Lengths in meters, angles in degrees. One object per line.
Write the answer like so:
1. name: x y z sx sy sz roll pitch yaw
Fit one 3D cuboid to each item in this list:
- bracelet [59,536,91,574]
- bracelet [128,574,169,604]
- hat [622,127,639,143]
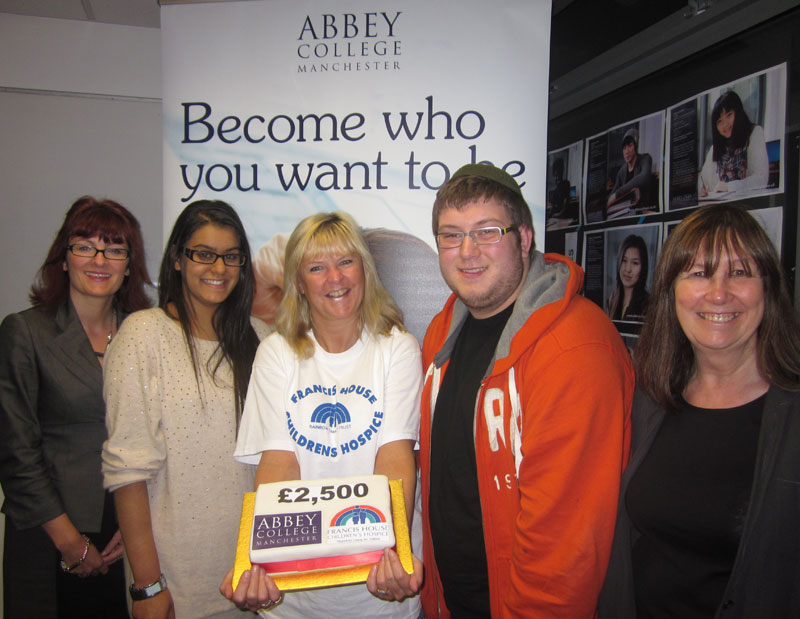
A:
1. bracelet: -1.583 1.223 3.403 0.045 0.167 0.158 27 -25 -33
2. bracelet: -1.157 1.263 3.139 0.128 0.102 0.148 -5 10 13
3. hat: 1.310 -0.990 3.859 0.051 0.059 0.071 7 5 4
